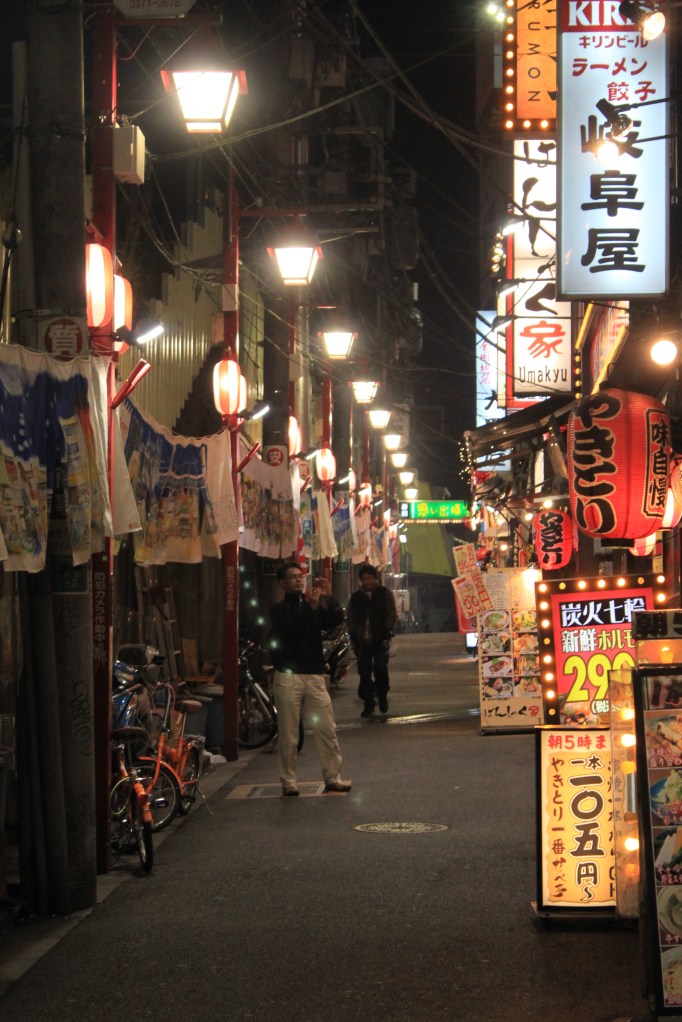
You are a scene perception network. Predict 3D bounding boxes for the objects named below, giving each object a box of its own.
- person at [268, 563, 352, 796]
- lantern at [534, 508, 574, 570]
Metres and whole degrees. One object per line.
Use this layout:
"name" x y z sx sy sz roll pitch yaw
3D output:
"person" -0.317 1.615 11.860 0.608 2.352 0.689 -2 5 2
"lantern" 3.540 0.518 20.599 0.580 1.054 0.570 -3 -19 7
